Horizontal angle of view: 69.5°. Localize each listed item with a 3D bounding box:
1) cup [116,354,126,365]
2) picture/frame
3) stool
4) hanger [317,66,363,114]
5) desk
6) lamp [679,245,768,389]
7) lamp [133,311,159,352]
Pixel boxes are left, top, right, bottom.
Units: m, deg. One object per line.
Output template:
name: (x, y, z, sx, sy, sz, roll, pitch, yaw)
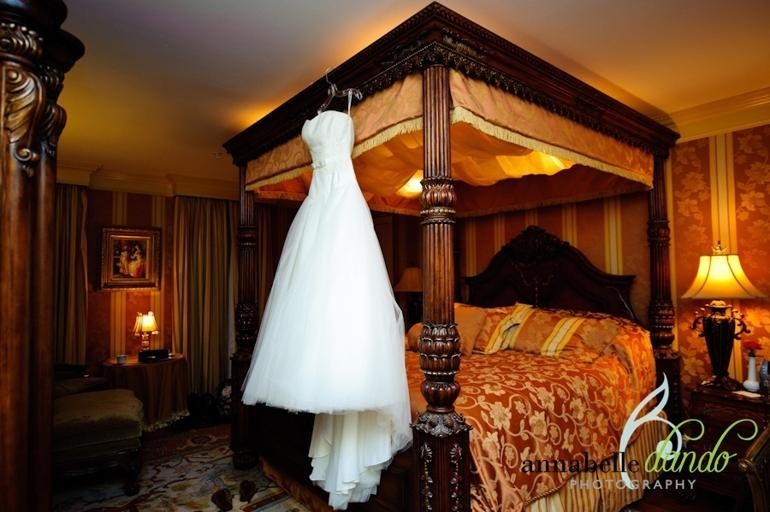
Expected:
cup: (-2.983, 1.164, 6.274, 0.092, 0.069, 0.075, -1, -2, -31)
picture/frame: (-3.334, 0.033, 7.128, 0.807, 1.018, 0.077, 3, -5, -39)
stool: (-2.586, 1.679, 5.053, 0.710, 0.768, 0.814, -4, 4, -27)
hanger: (-0.329, -1.191, 4.128, 0.330, 0.143, 0.339, 28, 40, 35)
desk: (-2.749, 1.597, 6.399, 0.865, 0.697, 0.912, 1, 8, -1)
lamp: (2.977, 0.503, 4.871, 0.596, 1.209, 0.517, 2, 5, 39)
lamp: (-2.910, 0.912, 6.755, 0.275, 0.435, 0.277, 1, -3, -5)
